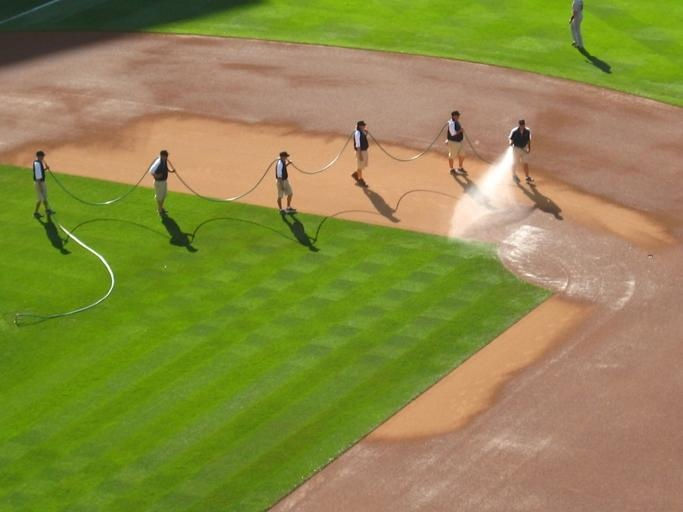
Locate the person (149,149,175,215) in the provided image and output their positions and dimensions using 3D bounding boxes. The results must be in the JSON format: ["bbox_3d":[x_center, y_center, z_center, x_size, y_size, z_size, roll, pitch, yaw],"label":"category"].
[{"bbox_3d":[-5.951,-2.449,34.549,0.566,2.091,1.107,4,40,11],"label":"person"}]

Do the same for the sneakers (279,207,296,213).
[{"bbox_3d":[-1.787,-1.568,34.969,0.528,0.203,0.182,-5,34,-4],"label":"sneakers"}]
